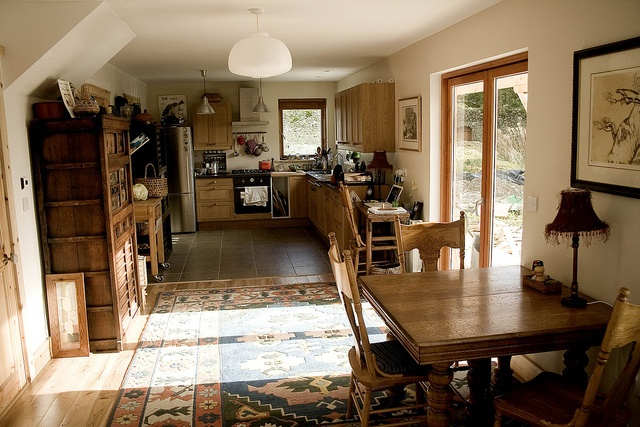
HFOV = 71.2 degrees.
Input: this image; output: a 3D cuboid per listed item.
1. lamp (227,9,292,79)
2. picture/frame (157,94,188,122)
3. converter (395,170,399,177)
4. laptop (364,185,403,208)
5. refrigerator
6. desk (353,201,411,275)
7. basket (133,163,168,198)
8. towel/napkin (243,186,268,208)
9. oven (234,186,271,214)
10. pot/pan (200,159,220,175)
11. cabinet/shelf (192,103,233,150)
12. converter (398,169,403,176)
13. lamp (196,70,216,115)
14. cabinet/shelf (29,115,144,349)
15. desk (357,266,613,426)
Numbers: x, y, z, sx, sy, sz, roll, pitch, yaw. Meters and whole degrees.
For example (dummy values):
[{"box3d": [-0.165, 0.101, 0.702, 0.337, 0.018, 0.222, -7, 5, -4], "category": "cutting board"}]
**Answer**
[{"box3d": [-0.519, -1.465, 3.986, 0.478, 0.500, 0.464, -2, 4, -5], "category": "lamp"}, {"box3d": [-3.007, -2.169, 9.105, 0.776, 0.673, 0.102, 1, 4, -4], "category": "picture/frame"}, {"box3d": [1.113, -0.581, 6.455, 0.065, 0.109, 0.061, 1, 3, -2], "category": "converter"}, {"box3d": [0.918, -0.224, 6.202, 0.390, 0.224, 0.404, 1, 4, -11], "category": "laptop"}, {"box3d": [-2.660, -0.633, 8.614, 0.541, 2.051, 0.311, -6, 15, -16], "category": "refrigerator"}, {"box3d": [0.758, 0.289, 5.519, 0.452, 0.858, 0.964, -1, 6, -4], "category": "desk"}, {"box3d": [-2.417, -0.443, 6.523, 0.619, 0.552, 0.374, 3, 6, 26], "category": "basket"}, {"box3d": [-1.314, -0.351, 9.042, 0.452, 0.377, 0.092, -1, 7, -10], "category": "towel/napkin"}, {"box3d": [-1.514, -0.266, 9.221, 0.905, 0.580, 0.536, -1, 0, -36], "category": "oven"}, {"box3d": [-2.266, -0.925, 9.206, 0.399, 0.357, 0.211, -1, 9, -9], "category": "pot/pan"}, {"box3d": [-2.155, -1.747, 8.945, 1.031, 1.156, 0.611, 0, 7, -5], "category": "cabinet/shelf"}, {"box3d": [1.127, -0.580, 6.344, 0.076, 0.088, 0.069, 2, 6, 7], "category": "converter"}, {"box3d": [-2.180, -2.261, 8.496, 0.257, 0.759, 1.721, -5, 14, -12], "category": "lamp"}, {"box3d": [-2.305, 0.176, 4.516, 0.678, 2.251, 0.898, -3, 15, -4], "category": "cabinet/shelf"}, {"box3d": [1.048, 0.711, 3.085, 1.128, 0.811, 1.308, -3, 6, -11], "category": "desk"}]
